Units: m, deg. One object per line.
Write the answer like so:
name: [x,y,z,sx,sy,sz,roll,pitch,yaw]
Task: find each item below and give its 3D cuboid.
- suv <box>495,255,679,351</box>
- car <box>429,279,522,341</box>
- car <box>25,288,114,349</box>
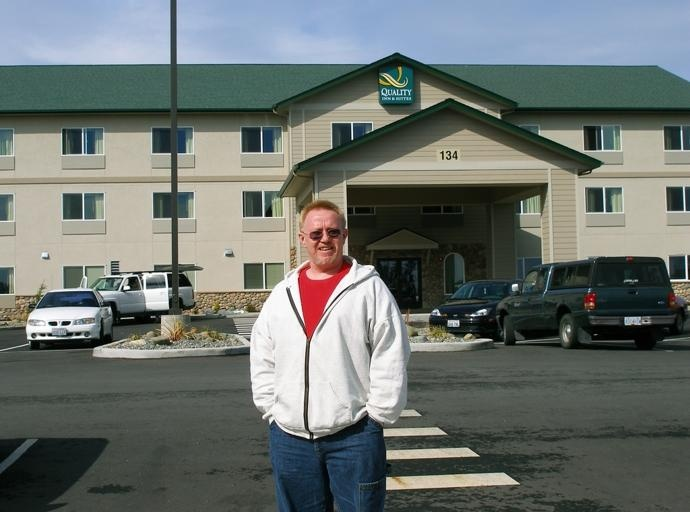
suv: [5.986,1.062,22.424,2.095,1.725,4.095,1,0,-17]
car: [3.965,1.497,25.945,1.406,1.128,2.663,-4,-7,34]
car: [-7.876,1.783,24.945,1.984,1.624,1.897,-1,-2,-7]
